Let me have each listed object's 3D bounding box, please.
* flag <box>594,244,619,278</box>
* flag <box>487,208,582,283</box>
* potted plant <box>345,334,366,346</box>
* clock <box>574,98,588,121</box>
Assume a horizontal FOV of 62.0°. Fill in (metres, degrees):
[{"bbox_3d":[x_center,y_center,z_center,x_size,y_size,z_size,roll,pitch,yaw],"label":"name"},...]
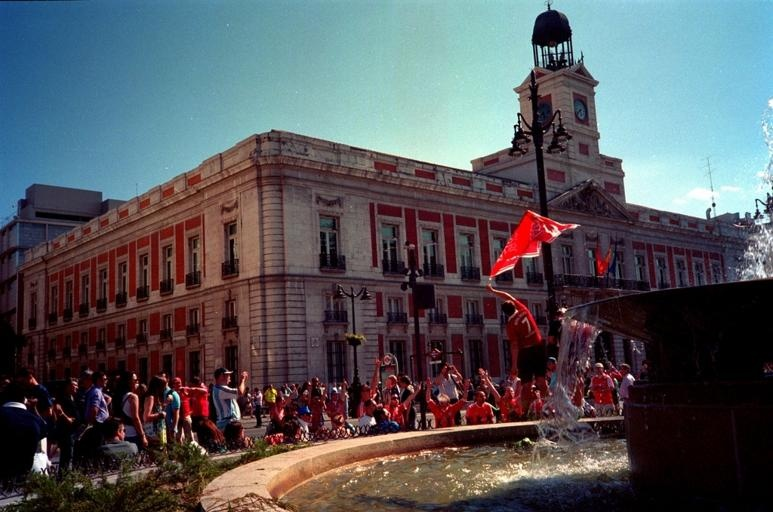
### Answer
[{"bbox_3d":[14.361,0.351,42.297,0.250,2.531,2.273,-3,1,-24],"label":"flag"},{"bbox_3d":[3.073,-0.343,13.956,1.330,1.718,2.230,-8,-14,17],"label":"flag"},{"bbox_3d":[-1.430,3.855,29.163,0.801,0.555,0.802,5,-11,-28],"label":"potted plant"},{"bbox_3d":[13.813,-10.409,45.985,1.517,1.559,0.115,20,-28,-41],"label":"clock"}]
